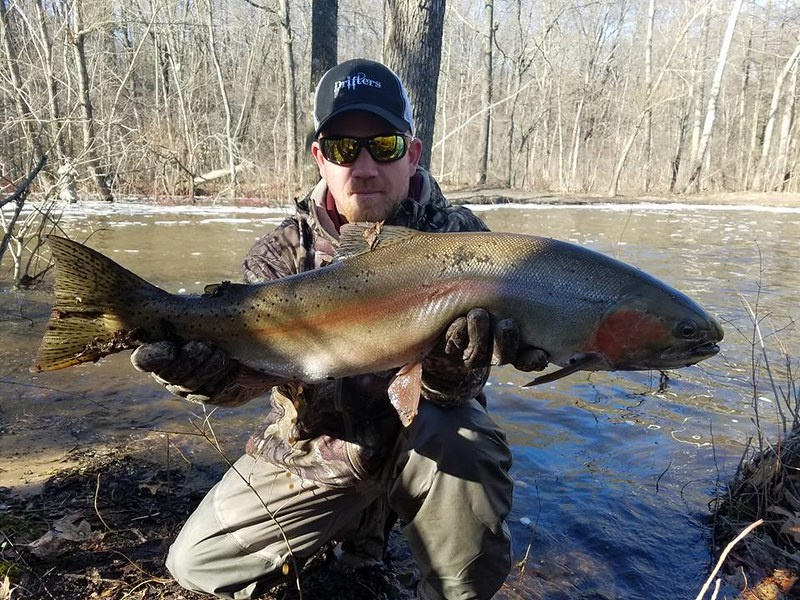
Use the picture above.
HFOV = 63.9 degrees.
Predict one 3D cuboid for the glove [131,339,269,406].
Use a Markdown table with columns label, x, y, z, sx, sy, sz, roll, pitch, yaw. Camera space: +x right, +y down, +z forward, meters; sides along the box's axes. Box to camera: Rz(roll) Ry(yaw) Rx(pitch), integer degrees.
| label | x | y | z | sx | sy | sz | roll | pitch | yaw |
| --- | --- | --- | --- | --- | --- | --- | --- | --- | --- |
| glove | -1.133 | 0.425 | 3.698 | 0.788 | 0.267 | 0.365 | -17 | 26 | 45 |
